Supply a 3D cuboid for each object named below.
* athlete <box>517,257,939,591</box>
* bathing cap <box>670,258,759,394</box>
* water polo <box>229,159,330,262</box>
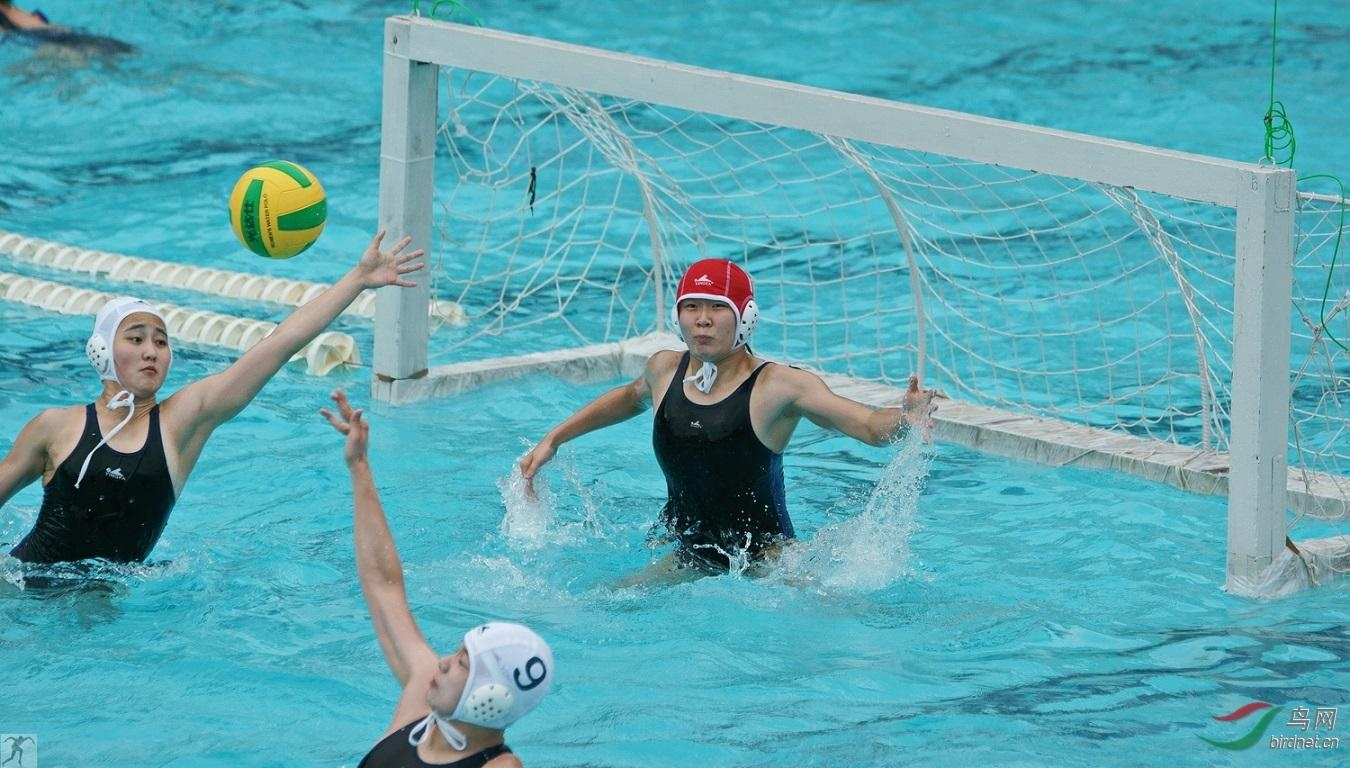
[{"bbox_3d":[0.328,0.297,8.247,2.760,1.885,0.778,1,0,21],"label":"athlete"},{"bbox_3d":[0.218,-0.441,7.086,0.428,0.473,0.228,6,-5,-2],"label":"bathing cap"},{"bbox_3d":[-2.295,-1.051,7.710,0.616,0.554,0.583,-11,26,-32],"label":"water polo"}]
